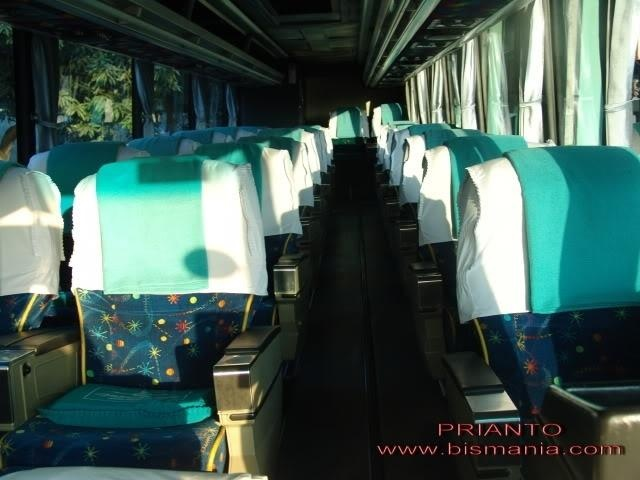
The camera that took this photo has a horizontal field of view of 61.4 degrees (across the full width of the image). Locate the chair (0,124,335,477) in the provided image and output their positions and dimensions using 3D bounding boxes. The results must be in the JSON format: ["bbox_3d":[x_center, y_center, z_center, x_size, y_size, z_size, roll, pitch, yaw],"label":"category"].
[{"bbox_3d":[-0.795,0.267,3.097,1.407,1.792,1.467,-1,-1,8],"label":"chair"}]

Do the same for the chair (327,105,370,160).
[{"bbox_3d":[0.704,-2.754,13.333,0.920,1.096,1.834,-3,8,4],"label":"chair"}]
